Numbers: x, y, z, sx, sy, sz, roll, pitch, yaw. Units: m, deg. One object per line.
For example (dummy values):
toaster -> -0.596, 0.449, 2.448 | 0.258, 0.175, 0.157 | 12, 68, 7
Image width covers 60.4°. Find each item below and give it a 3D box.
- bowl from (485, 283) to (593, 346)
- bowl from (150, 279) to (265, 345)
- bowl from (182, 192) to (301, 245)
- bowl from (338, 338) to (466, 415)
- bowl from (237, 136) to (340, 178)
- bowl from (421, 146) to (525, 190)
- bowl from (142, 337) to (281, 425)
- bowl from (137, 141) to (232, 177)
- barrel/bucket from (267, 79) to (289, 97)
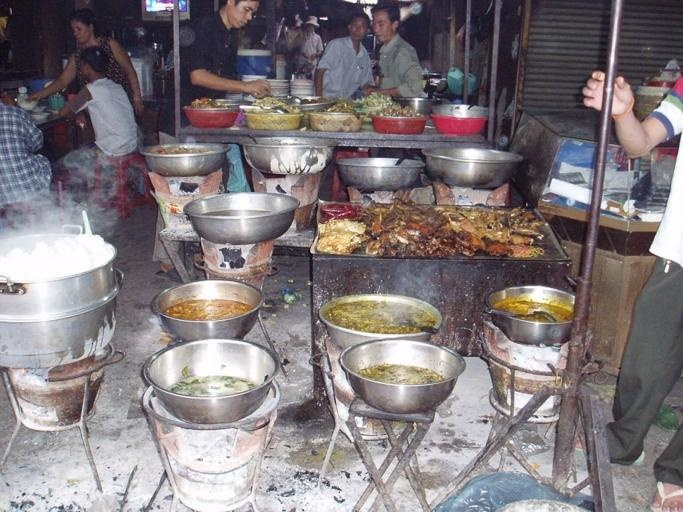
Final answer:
bowl -> 1.364, 0.396, 4.264 | 0.597, 0.246, 0.622 | 2, 26, -1
bowl -> -0.986, 0.439, 4.381 | 0.807, 0.245, 0.752 | 2, 20, -1
bowl -> -0.879, -0.316, 4.944 | 0.678, 0.196, 0.656 | 1, 18, 0
bowl -> 0.392, 0.745, 3.691 | 0.604, 0.196, 0.598 | 0, 12, 0
bowl -> -0.493, -1.001, 5.944 | 0.946, 0.308, 0.923 | 0, 15, 0
bowl -> 1.312, -0.841, 5.680 | 0.669, 0.209, 0.615 | -1, 21, 0
bowl -> -0.772, 0.794, 3.659 | 0.934, 0.280, 0.875 | 3, 13, -1
bowl -> -1.548, -0.978, 5.831 | 0.837, 0.291, 0.797 | 1, 26, -1
barrel/bucket -> -0.849, -2.284, 7.915 | 0.281, 0.178, 0.262 | 2, 24, -1
